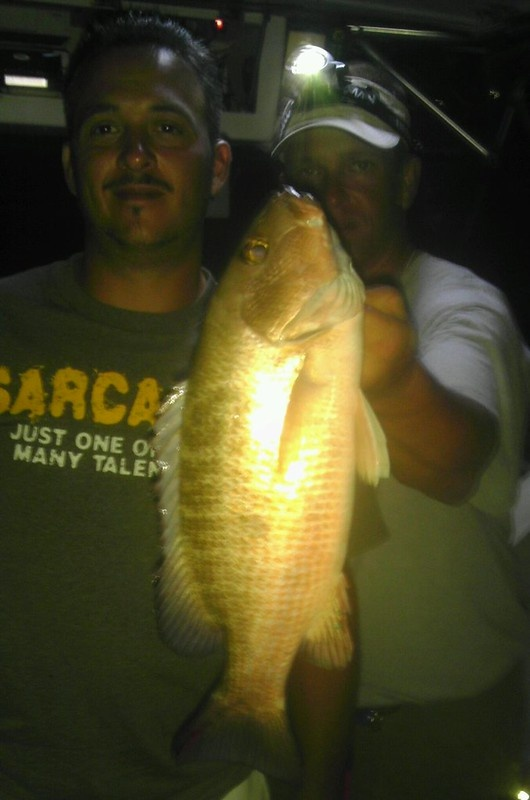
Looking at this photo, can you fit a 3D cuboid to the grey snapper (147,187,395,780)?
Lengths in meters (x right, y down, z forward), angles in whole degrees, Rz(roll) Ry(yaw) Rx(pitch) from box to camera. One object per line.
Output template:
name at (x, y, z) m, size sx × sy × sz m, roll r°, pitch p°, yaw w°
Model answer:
grey snapper at (-0.025, 0.138, 1.381) m, size 0.475 × 0.888 × 0.293 m, roll 11°, pitch 4°, yaw -1°

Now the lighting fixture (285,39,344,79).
lighting fixture at (0.095, -0.655, 1.459) m, size 0.099 × 0.050 × 0.031 m, roll -2°, pitch 35°, yaw -21°
